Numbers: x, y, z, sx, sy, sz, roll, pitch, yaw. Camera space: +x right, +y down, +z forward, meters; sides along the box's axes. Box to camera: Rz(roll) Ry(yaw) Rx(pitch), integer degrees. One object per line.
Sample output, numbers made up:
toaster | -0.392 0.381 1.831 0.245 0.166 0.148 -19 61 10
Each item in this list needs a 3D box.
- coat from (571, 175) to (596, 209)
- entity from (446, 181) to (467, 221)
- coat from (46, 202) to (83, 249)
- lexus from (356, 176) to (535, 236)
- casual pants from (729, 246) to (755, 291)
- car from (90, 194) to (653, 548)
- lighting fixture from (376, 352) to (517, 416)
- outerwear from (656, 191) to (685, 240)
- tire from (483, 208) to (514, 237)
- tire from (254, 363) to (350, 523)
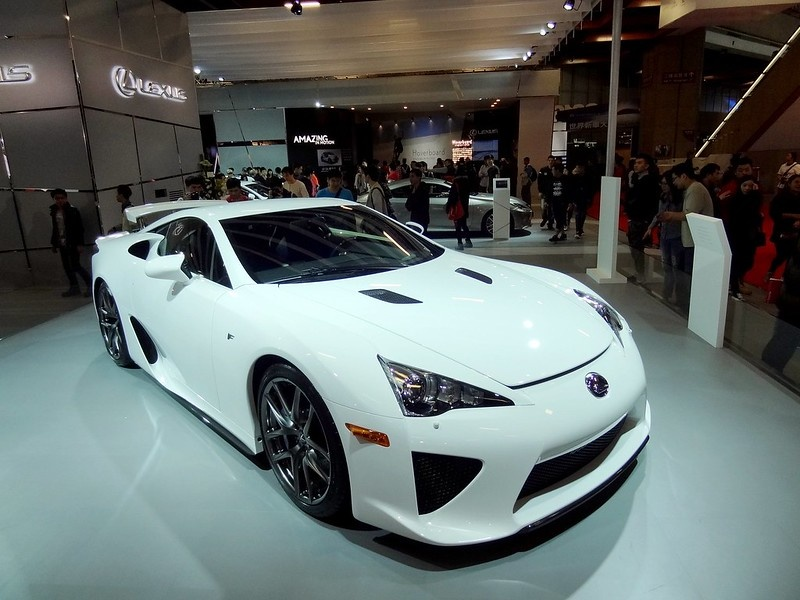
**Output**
coat | 4.157 -2.494 10.710 0.467 0.826 0.219 1 5 -30
entity | 1.184 -2.049 9.793 0.413 0.963 0.794 0 14 22
coat | -5.101 -1.122 7.139 0.438 0.667 0.208 -1 16 -1
lexus | 1.155 -2.202 11.455 3.858 1.298 1.817 0 22 2
casual pants | 4.474 -0.418 6.168 0.104 0.474 0.464 16 5 13
car | -0.576 0.173 3.154 1.845 1.133 3.560 -19 26 -41
lighting fixture | 0.182 0.380 2.224 0.410 0.205 0.269 2 -7 -21
outerwear | 3.480 -1.080 6.050 0.267 0.623 0.474 8 19 27
tire | 2.275 -1.809 10.831 0.610 0.681 0.213 4 4 9
tire | -0.548 0.776 2.592 0.819 0.865 0.097 14 22 40
